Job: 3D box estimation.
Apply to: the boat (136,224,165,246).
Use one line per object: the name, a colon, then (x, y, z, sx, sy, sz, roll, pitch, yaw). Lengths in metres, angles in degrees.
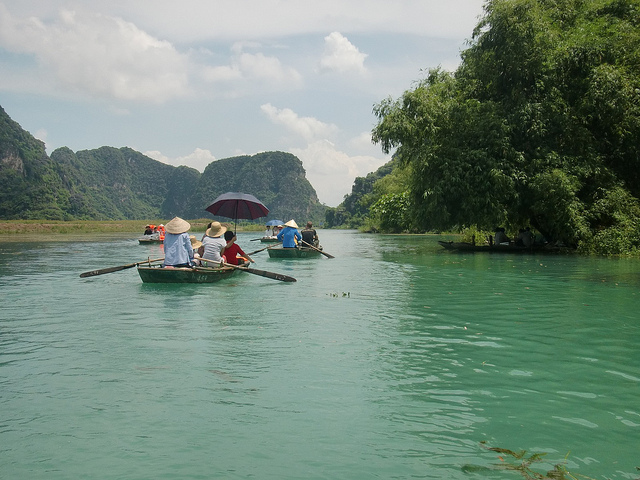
boat: (-13.068, -0.365, 43.815, 2.289, 1.736, 4.918, 1, 5, -7)

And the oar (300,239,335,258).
oar: (-0.128, 0.446, 27.718, 1.569, 0.133, 0.268, 32, -19, 22)

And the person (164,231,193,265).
person: (-3.717, 0.229, 14.935, 0.899, 0.952, 0.525, -1, 3, 4)

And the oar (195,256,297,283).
oar: (-2.245, 0.904, 16.976, 3.062, 0.223, 0.106, 12, 13, 2)

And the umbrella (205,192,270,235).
umbrella: (-3.173, -0.985, 21.951, 2.182, 1.569, 2.332, 2, -13, -15)

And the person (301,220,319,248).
person: (-0.463, -0.124, 25.114, 0.688, 1.027, 1.026, 2, 5, 7)

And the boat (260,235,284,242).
boat: (-3.191, 0.028, 36.564, 0.337, 0.314, 1.595, -8, 12, -44)

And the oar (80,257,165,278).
oar: (-6.432, 0.896, 18.381, 2.389, 0.174, 0.135, -11, -40, -1)

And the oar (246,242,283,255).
oar: (-2.806, 0.451, 28.938, 1.827, 0.124, 0.094, -23, -21, -41)
